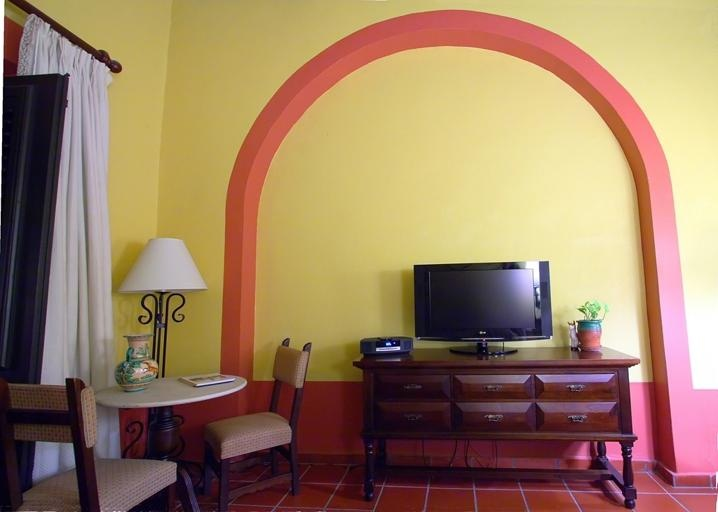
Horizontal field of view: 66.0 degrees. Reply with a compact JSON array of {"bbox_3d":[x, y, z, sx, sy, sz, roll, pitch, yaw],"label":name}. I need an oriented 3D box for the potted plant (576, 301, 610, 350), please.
[{"bbox_3d":[1.865,0.556,4.433,0.215,0.374,0.333,-2,-2,29],"label":"potted plant"}]

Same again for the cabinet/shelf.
[{"bbox_3d":[1.029,1.141,4.325,1.961,0.567,0.561,-2,-13,8],"label":"cabinet/shelf"}]
